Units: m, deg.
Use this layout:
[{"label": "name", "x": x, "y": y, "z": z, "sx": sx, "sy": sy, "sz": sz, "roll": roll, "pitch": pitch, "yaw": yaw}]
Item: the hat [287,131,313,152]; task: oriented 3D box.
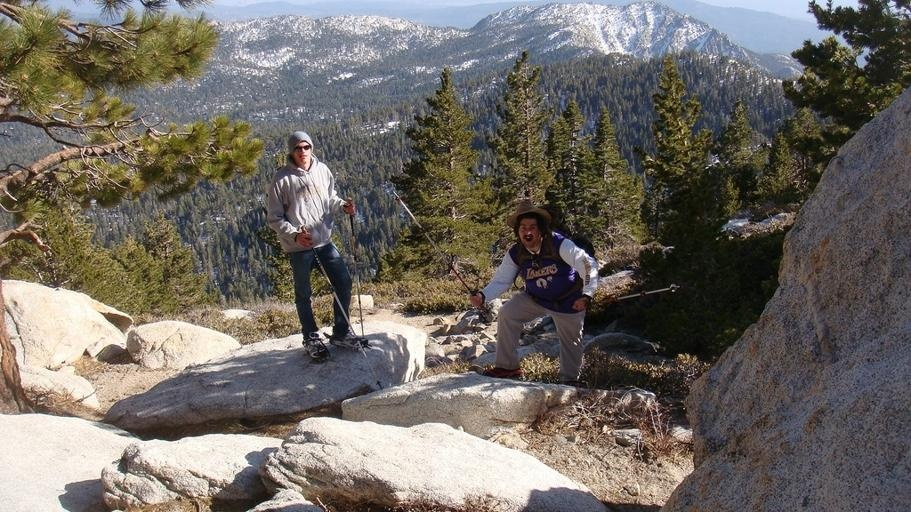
[{"label": "hat", "x": -4.026, "y": -3.057, "z": 25.254, "sx": 0.508, "sy": 0.512, "sz": 0.537, "roll": -6, "pitch": 16, "yaw": -13}]
